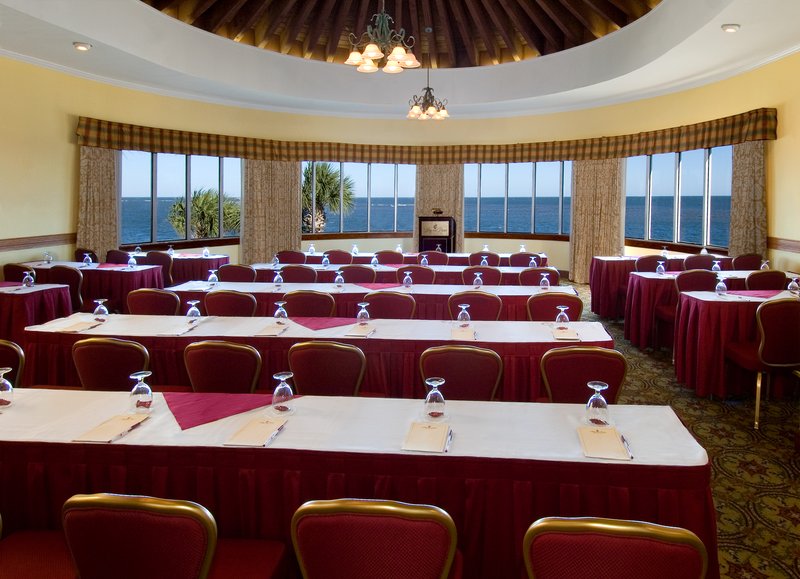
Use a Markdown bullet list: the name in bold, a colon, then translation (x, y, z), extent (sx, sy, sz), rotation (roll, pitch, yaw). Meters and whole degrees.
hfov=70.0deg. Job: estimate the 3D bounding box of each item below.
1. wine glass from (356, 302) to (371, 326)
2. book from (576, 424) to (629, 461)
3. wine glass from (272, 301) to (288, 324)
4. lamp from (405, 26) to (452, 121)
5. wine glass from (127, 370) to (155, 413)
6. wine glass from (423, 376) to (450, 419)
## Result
- **wine glass**: translation (-0.321, 0.219, 4.972), extent (0.152, 0.254, 0.160), rotation (0, 1, 1)
- **book**: translation (1.001, 0.734, 2.845), extent (0.201, 0.287, 0.027), rotation (-3, 33, 30)
- **wine glass**: translation (-1.095, 0.207, 5.238), extent (0.141, 0.205, 0.140), rotation (-5, 13, -38)
- **lamp**: translation (0.399, -2.904, 7.624), extent (0.541, 1.078, 0.591), rotation (13, 17, 30)
- **wine glass**: translation (-1.486, 0.596, 3.293), extent (0.131, 0.231, 0.144), rotation (-7, -12, -10)
- **wine glass**: translation (0.187, 0.598, 3.197), extent (0.184, 0.321, 0.189), rotation (0, 0, 0)
